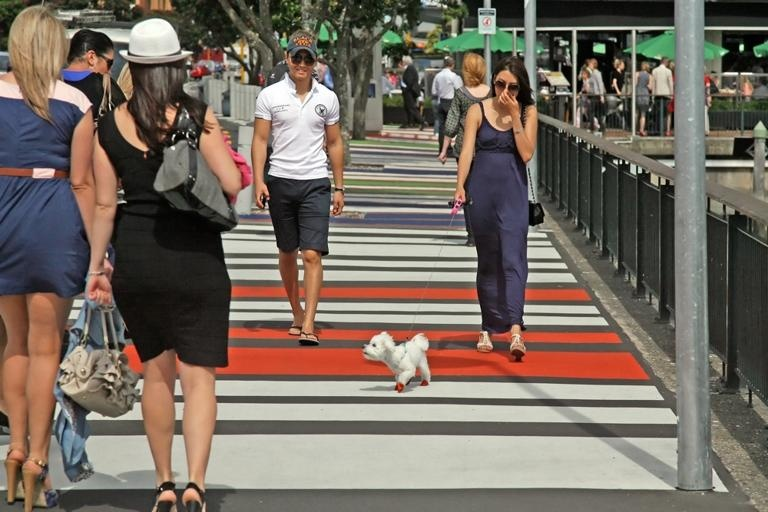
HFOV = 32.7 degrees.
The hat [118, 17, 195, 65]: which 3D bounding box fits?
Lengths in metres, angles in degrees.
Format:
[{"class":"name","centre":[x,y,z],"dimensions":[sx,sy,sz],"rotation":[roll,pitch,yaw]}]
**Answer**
[{"class":"hat","centre":[-1.351,-1.271,7.738],"dimensions":[0.386,0.259,0.257],"rotation":[-3,11,-12]}]

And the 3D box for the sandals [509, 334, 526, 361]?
[{"class":"sandals","centre":[1.073,0.737,10.610],"dimensions":[0.089,0.112,0.255],"rotation":[0,-33,8]}]

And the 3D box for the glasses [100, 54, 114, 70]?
[{"class":"glasses","centre":[-2.102,-1.470,9.885],"dimensions":[0.029,0.093,0.088],"rotation":[-10,1,1]}]

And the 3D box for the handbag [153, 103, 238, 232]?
[{"class":"handbag","centre":[-1.130,-0.499,7.640],"dimensions":[0.245,0.517,0.520],"rotation":[-8,-33,15]}]

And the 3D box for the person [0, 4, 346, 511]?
[{"class":"person","centre":[-1.355,0.093,7.742],"dimensions":[0.866,2.933,0.624],"rotation":[3,11,19]}]

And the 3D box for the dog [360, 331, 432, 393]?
[{"class":"dog","centre":[0.108,0.799,9.871],"dimensions":[0.530,0.444,0.246],"rotation":[-1,-7,-24]}]

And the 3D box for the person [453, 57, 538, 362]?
[{"class":"person","centre":[0.913,-0.378,10.628],"dimensions":[0.654,2.452,0.432],"rotation":[3,11,19]}]

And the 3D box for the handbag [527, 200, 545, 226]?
[{"class":"handbag","centre":[1.245,-0.308,10.803],"dimensions":[0.157,0.296,0.303],"rotation":[-2,11,5]}]

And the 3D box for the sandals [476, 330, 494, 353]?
[{"class":"sandals","centre":[0.836,0.711,10.922],"dimensions":[0.116,0.179,0.176],"rotation":[6,10,42]}]
